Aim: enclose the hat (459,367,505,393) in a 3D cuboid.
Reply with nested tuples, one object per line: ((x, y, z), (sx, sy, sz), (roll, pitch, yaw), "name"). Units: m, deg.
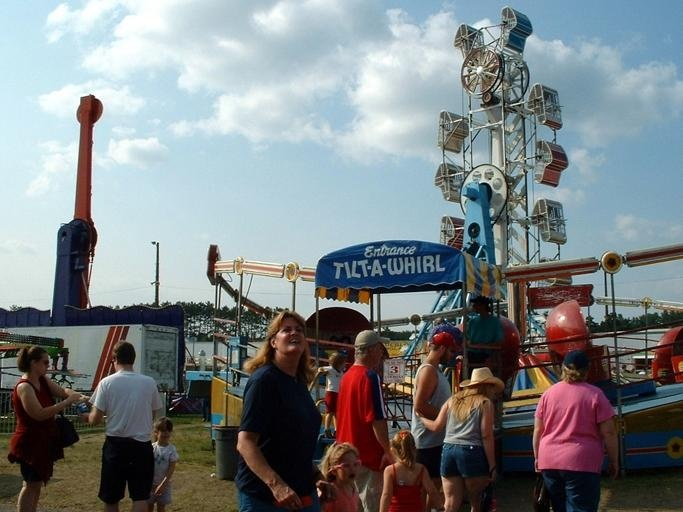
((2.025, 1.715, 12.116), (0.396, 0.210, 0.487), (-9, -20, 31), "hat")

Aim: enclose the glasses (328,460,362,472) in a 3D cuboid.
((0.041, 2.555, 10.671), (0.357, 0.140, 0.083), (2, -7, -10), "glasses")

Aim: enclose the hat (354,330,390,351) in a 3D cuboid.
((0.438, 1.128, 12.139), (0.393, 0.153, 0.249), (-7, 4, -39), "hat")

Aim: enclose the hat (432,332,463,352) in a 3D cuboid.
((1.555, 1.216, 12.796), (0.435, 0.237, 0.311), (32, -21, -31), "hat")

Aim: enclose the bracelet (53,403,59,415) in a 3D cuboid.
((-3.946, 2.111, 12.143), (0.076, 0.143, 0.311), (3, -8, -18), "bracelet")
